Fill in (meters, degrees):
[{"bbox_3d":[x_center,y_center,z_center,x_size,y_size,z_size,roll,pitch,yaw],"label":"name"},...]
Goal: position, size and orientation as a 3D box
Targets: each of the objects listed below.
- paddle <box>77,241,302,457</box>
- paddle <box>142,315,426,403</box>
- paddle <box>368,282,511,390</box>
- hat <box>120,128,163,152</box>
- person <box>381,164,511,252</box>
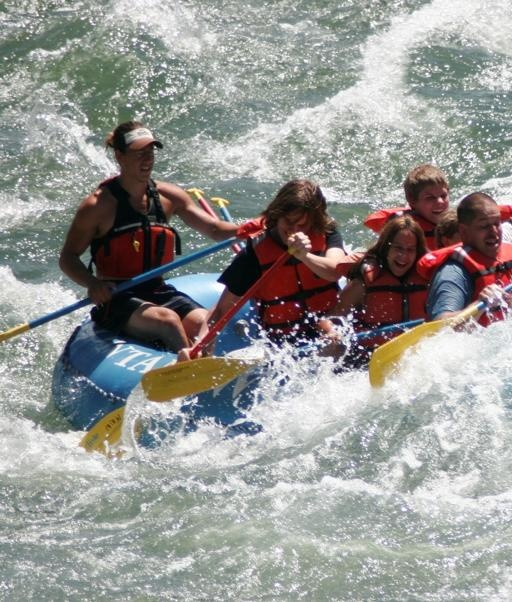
[{"bbox_3d":[-0.388,0.306,4.594,1.930,0.396,0.132,-28,0,5],"label":"paddle"},{"bbox_3d":[0.164,0.334,4.355,1.519,0.142,0.102,-10,18,-11],"label":"paddle"},{"bbox_3d":[0.986,0.146,4.120,1.087,0.047,0.209,-20,48,-10],"label":"paddle"},{"bbox_3d":[-0.733,-1.009,5.003,0.170,0.066,0.243,-8,9,-37],"label":"hat"},{"bbox_3d":[1.138,-0.648,5.229,0.772,0.222,0.815,-15,31,-28],"label":"person"}]
